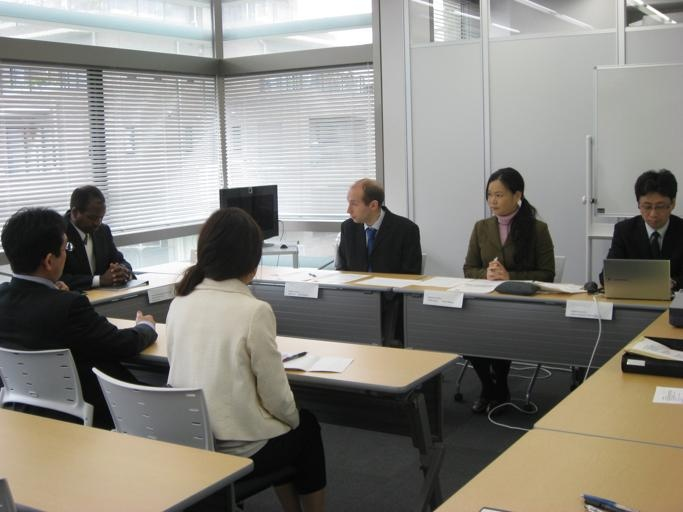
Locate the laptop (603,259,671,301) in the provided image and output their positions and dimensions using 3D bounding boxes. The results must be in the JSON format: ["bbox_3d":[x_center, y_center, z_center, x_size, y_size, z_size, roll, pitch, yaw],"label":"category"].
[{"bbox_3d":[1.763,0.164,3.110,0.359,0.252,0.278,2,-10,16],"label":"laptop"}]

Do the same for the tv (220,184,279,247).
[{"bbox_3d":[-0.867,-0.386,4.912,0.168,0.531,0.722,0,8,36],"label":"tv"}]
